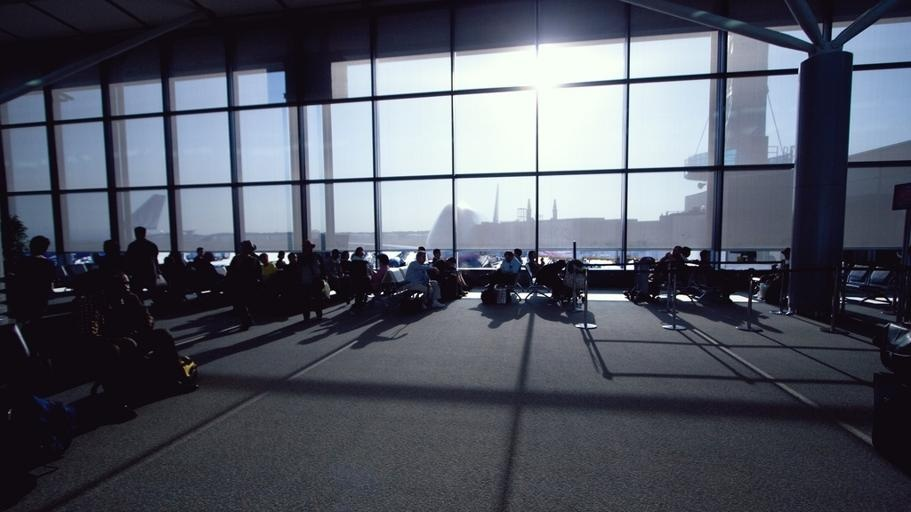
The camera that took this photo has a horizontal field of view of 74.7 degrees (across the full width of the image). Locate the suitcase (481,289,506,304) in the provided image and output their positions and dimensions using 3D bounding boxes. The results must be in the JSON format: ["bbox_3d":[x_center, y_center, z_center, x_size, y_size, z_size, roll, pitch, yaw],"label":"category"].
[{"bbox_3d":[1.310,1.317,19.643,0.921,0.469,0.605,-3,4,10],"label":"suitcase"}]

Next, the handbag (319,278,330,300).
[{"bbox_3d":[-4.076,1.037,18.719,0.342,0.481,0.261,-7,11,-32],"label":"handbag"}]
